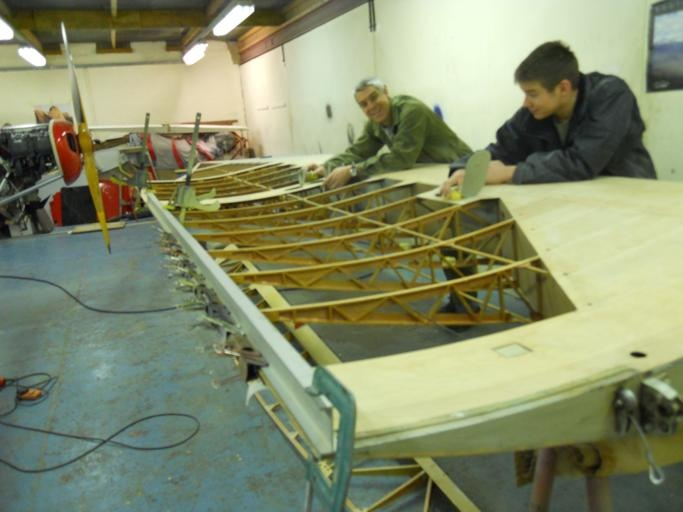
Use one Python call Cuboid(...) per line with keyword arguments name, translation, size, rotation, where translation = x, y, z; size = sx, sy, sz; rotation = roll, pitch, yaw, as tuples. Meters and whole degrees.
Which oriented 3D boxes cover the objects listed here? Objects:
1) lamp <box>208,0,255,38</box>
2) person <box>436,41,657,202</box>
Cuboid(name="lamp", translation=(-2.057, -4.396, 9.762), size=(0.311, 0.149, 1.672), rotation=(20, 1, -19))
Cuboid(name="person", translation=(1.650, -1.010, 4.165), size=(1.596, 1.211, 1.119), rotation=(-9, 15, -6))
